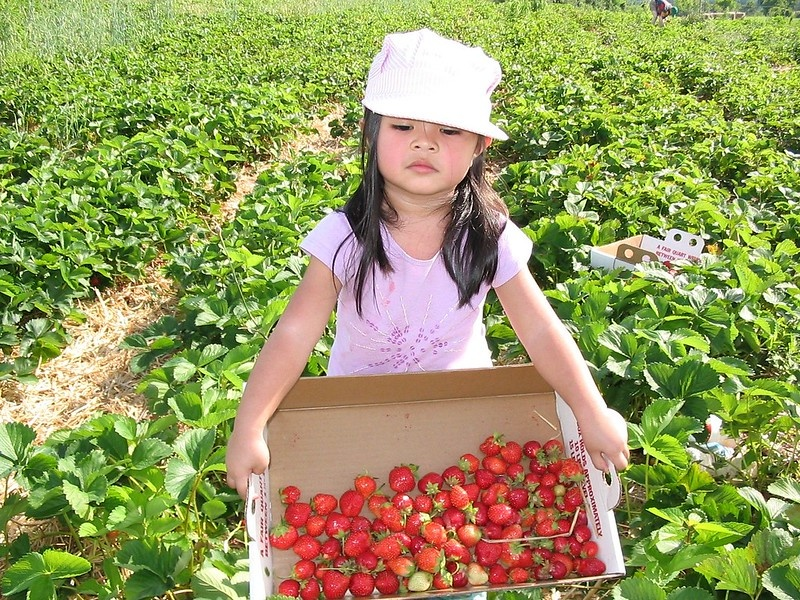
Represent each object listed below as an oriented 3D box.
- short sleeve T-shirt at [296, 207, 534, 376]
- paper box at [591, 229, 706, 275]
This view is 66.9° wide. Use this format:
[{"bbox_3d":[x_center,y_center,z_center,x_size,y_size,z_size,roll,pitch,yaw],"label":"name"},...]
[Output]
[{"bbox_3d":[0.053,-0.035,2.731,0.910,0.831,0.473,2,8,-2],"label":"short sleeve T-shirt"},{"bbox_3d":[1.740,-0.358,4.317,0.447,0.286,0.457,18,33,37],"label":"paper box"}]
